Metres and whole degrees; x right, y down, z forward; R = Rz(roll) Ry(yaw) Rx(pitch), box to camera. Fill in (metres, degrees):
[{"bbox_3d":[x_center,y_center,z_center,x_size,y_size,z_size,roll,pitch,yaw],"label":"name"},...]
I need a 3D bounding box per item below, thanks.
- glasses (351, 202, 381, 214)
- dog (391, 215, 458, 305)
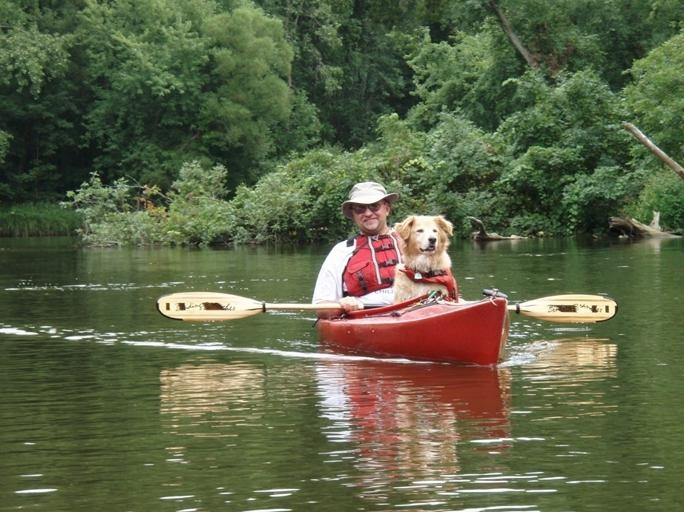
[{"bbox_3d":[0.298,-0.572,12.246,0.328,0.131,0.116,-1,9,8],"label":"glasses"},{"bbox_3d":[0.925,0.055,11.612,0.721,1.026,0.567,-2,10,3],"label":"dog"}]
